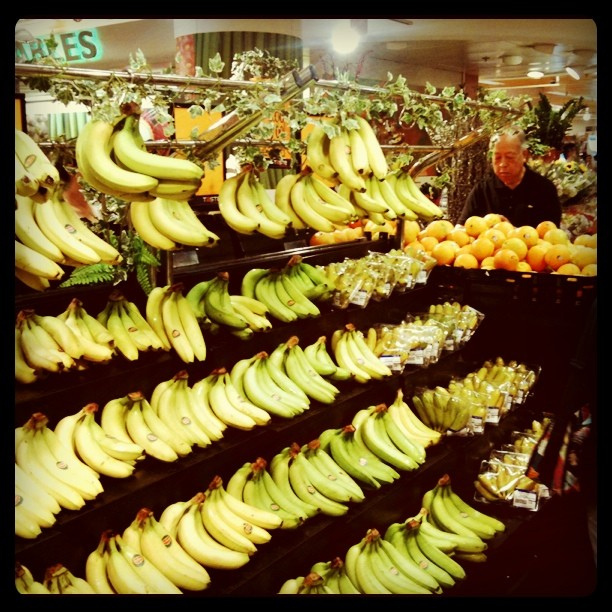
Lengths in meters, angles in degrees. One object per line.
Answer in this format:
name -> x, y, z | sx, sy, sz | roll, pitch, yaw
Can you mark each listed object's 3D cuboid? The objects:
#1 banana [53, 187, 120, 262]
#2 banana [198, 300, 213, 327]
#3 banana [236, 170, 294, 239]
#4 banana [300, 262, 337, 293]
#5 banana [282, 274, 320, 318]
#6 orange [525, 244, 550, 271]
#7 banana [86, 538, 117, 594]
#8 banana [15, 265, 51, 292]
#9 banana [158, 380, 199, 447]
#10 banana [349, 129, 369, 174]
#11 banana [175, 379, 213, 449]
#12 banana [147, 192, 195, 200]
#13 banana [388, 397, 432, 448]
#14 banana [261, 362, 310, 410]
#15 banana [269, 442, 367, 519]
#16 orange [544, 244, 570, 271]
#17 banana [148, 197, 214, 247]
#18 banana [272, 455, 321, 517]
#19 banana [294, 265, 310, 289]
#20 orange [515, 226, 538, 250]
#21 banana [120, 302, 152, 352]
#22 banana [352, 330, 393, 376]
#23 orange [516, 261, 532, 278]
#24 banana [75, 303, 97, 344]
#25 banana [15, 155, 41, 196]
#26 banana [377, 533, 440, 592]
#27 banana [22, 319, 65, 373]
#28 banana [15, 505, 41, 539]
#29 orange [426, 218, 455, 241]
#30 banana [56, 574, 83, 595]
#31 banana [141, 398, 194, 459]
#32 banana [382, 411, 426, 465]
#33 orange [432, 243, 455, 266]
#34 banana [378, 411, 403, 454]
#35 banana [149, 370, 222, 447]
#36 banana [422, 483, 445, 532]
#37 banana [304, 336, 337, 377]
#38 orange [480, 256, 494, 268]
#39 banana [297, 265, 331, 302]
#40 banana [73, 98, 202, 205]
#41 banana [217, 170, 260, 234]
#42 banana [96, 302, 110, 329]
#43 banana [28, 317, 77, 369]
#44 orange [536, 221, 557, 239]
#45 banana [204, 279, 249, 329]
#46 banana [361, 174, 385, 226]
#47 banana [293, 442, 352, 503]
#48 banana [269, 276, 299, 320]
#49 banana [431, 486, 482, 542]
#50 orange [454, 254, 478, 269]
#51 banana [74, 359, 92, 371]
banana -> -0.628, -0.236, 1.362 | 0.056, 0.279, 0.102 | -46, -8, 20
banana -> -0.382, 0.031, 1.803 | 0.037, 0.082, 0.087 | -6, -5, -27
banana -> -0.193, -0.347, 1.700 | 0.074, 0.137, 0.230 | -32, 6, -33
banana -> 0.052, -0.123, 2.132 | 0.051, 0.189, 0.036 | -41, -17, -34
banana -> -0.026, -0.038, 2.031 | 0.046, 0.203, 0.067 | -41, -14, 3
orange -> 1.290, -0.273, 2.669 | 0.140, 0.147, 0.139 | -3, 7, -40
banana -> -0.557, 0.719, 1.309 | 0.085, 0.118, 0.039 | -36, -26, 17
banana -> -0.741, -0.076, 1.301 | 0.029, 0.022, 0.086 | -11, -36, 40
banana -> -0.438, 0.357, 1.616 | 0.071, 0.291, 0.103 | -16, -32, -32
banana -> 0.178, -0.589, 1.818 | 0.065, 0.207, 0.061 | -7, -36, -7
banana -> -0.377, 0.369, 1.593 | 0.041, 0.213, 0.078 | -33, -13, 8
banana -> -0.364, -0.298, 1.283 | 0.088, 0.016, 0.027 | 1, 27, -11
banana -> 0.560, 0.540, 2.357 | 0.273, 0.149, 0.079 | 10, -34, -11
banana -> -0.085, 0.316, 1.851 | 0.035, 0.193, 0.066 | -40, -12, -16
banana -> 0.061, 0.664, 1.814 | 0.337, 0.130, 0.185 | 24, 42, 22
orange -> 1.366, -0.266, 2.607 | 0.115, 0.104, 0.145 | 7, 14, 6
banana -> -0.378, -0.254, 1.435 | 0.183, 0.138, 0.091 | 8, 14, 35
banana -> -0.040, 0.678, 1.774 | 0.054, 0.234, 0.091 | -12, -34, -46
banana -> -0.019, -0.125, 2.106 | 0.041, 0.109, 0.020 | -30, -10, -20
orange -> 1.248, -0.383, 2.711 | 0.098, 0.095, 0.113 | -33, 17, 10
banana -> -0.540, 0.070, 1.557 | 0.062, 0.185, 0.051 | -40, -15, -14
banana -> 0.310, 0.228, 2.248 | 0.041, 0.220, 0.074 | -33, -19, -13
orange -> 1.222, -0.205, 2.685 | 0.076, 0.086, 0.098 | 5, 12, 23
banana -> -0.672, 0.057, 1.456 | 0.029, 0.116, 0.040 | -28, -10, -18
banana -> -0.652, -0.300, 1.106 | 0.031, 0.084, 0.048 | -15, 5, 34
banana -> 0.400, 1.022, 1.886 | 0.302, 0.105, 0.072 | 43, 36, 24
banana -> -0.684, 0.122, 1.292 | 0.055, 0.178, 0.064 | -36, -5, -12
banana -> -0.659, 0.516, 1.133 | 0.048, 0.075, 0.033 | -3, 12, -13
orange -> 0.840, -0.456, 3.000 | 0.183, 0.154, 0.161 | -1, 3, 21
banana -> -0.607, 0.714, 1.221 | 0.068, 0.022, 0.018 | 36, 24, 18
banana -> -0.442, 0.396, 1.512 | 0.041, 0.197, 0.066 | -39, -10, -18
banana -> 0.431, 0.602, 2.192 | 0.085, 0.289, 0.100 | -5, -33, -52
orange -> 0.816, -0.305, 2.843 | 0.132, 0.134, 0.082 | 2, 12, 11
banana -> 0.356, 0.568, 2.177 | 0.076, 0.200, 0.042 | -11, -23, -32
banana -> -0.384, 0.363, 1.568 | 0.192, 0.164, 0.314 | 2, 33, -35
banana -> 0.574, 0.923, 2.191 | 0.084, 0.204, 0.050 | -6, -16, -8
banana -> 0.061, 0.233, 2.093 | 0.125, 0.063, 0.223 | -15, 37, -8
orange -> 1.039, -0.256, 2.749 | 0.066, 0.069, 0.060 | 1, 1, 10
banana -> 0.029, -0.093, 2.089 | 0.036, 0.179, 0.062 | -37, -16, -7
banana -> -0.457, -0.394, 1.236 | 0.190, 0.147, 0.282 | -11, -1, 17
banana -> -0.231, -0.367, 1.686 | 0.136, 0.268, 0.064 | -16, -26, 0
banana -> -0.660, 0.033, 1.553 | 0.035, 0.032, 0.092 | -3, 41, -5
banana -> -0.684, 0.103, 1.280 | 0.036, 0.154, 0.051 | -37, -12, -37
orange -> 1.383, -0.443, 2.801 | 0.109, 0.115, 0.102 | 2, 22, 16
banana -> -0.318, -0.021, 1.843 | 0.156, 0.092, 0.312 | -3, 42, -12
banana -> 0.275, -0.448, 1.962 | 0.049, 0.212, 0.075 | -25, -12, 12
banana -> 0.059, 0.657, 1.854 | 0.247, 0.085, 0.048 | 35, 46, 26
banana -> -0.097, -0.025, 2.002 | 0.039, 0.198, 0.068 | -17, -27, -27
banana -> 0.659, 0.950, 2.205 | 0.153, 0.247, 0.075 | -48, 16, 13
orange -> 0.927, -0.260, 2.764 | 0.121, 0.090, 0.092 | 6, -32, 11
banana -> -0.640, 0.170, 1.373 | 0.011, 0.027, 0.039 | 0, -16, 23
